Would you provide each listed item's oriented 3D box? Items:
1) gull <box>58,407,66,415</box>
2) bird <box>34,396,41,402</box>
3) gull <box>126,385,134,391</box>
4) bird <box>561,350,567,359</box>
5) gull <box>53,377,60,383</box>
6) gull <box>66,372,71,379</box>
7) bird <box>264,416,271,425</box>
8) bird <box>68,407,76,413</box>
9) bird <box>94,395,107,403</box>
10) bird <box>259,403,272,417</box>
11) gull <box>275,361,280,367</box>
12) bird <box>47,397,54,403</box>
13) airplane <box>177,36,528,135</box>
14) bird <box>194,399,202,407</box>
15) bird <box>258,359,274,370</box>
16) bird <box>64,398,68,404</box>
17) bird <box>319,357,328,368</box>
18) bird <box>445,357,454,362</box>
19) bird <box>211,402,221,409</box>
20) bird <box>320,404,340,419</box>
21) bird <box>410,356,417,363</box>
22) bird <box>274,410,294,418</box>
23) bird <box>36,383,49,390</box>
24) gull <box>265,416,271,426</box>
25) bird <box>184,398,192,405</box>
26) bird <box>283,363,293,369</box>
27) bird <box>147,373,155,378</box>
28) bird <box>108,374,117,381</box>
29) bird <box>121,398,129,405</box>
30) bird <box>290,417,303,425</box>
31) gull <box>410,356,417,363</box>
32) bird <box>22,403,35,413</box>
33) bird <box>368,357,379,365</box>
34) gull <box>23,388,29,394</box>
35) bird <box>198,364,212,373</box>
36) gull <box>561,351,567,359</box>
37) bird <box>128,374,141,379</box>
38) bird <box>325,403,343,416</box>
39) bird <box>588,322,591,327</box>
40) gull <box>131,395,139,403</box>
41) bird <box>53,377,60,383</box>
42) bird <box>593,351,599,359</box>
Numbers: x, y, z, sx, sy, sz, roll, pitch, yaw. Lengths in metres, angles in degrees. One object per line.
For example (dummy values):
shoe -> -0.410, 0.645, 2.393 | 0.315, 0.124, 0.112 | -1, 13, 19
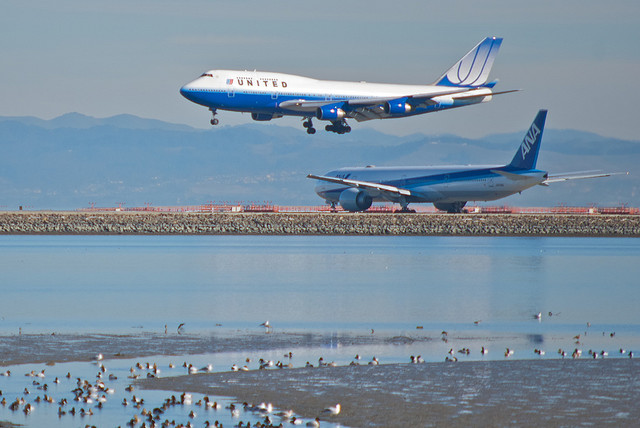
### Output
gull -> -7.425, 5.650, 49.610 | 0.213, 0.130, 0.178 | 4, 13, 21
bird -> -8.169, 5.324, 49.957 | 0.155, 0.107, 0.172 | -4, 12, -15
gull -> -5.571, 5.066, 50.429 | 0.145, 0.126, 0.048 | 4, -12, -1
bird -> 7.318, 4.234, 52.350 | 0.149, 0.130, 0.139 | 2, 2, -15
gull -> -7.759, 4.861, 50.763 | 0.138, 0.119, 0.054 | 4, -6, 2
gull -> -7.447, 4.748, 51.008 | 0.126, 0.138, 0.060 | 4, 3, -6
bird -> -1.528, 5.865, 49.140 | 0.241, 0.212, 0.090 | 2, 4, 9
bird -> -7.101, 5.614, 49.663 | 0.111, 0.114, 0.077 | 11, -9, 45
bird -> -6.282, 5.335, 49.935 | 0.211, 0.079, 0.197 | 6, 24, 13
bird -> -1.524, 5.573, 49.523 | 0.437, 0.218, 0.313 | -8, 14, -32
gull -> -1.309, 4.462, 51.628 | 0.115, 0.115, 0.050 | 14, -5, 37
bird -> -7.783, 5.346, 49.956 | 0.148, 0.122, 0.183 | 3, 12, 15
airplane -> 3.439, -6.767, 90.092 | 9.160, 3.262, 24.638 | 6, 13, 28
bird -> -3.549, 5.438, 49.876 | 0.198, 0.097, 0.260 | -1, 0, -10
bird -> -1.627, 4.473, 51.631 | 0.322, 0.173, 0.300 | -4, 1, 1
bird -> -7.360, 5.387, 49.925 | 0.141, 0.127, 0.066 | -5, 7, -11
bird -> 0.067, 4.452, 51.631 | 0.230, 0.165, 0.241 | 1, 9, -19
bird -> 3.835, 4.357, 51.893 | 0.257, 0.063, 0.158 | 3, 12, 14
bird -> -2.994, 5.503, 49.749 | 0.178, 0.109, 0.170 | 1, 2, -32
bird -> 0.250, 5.610, 49.429 | 0.495, 0.287, 0.397 | 5, 13, 25
bird -> 2.774, 4.340, 51.954 | 0.271, 0.237, 0.124 | 4, -18, -13
bird -> -1.028, 5.693, 49.363 | 0.530, 0.145, 0.252 | -4, 12, -18
bird -> -8.065, 5.026, 50.419 | 0.343, 0.102, 0.242 | -9, 14, -36
gull -> -1.519, 5.850, 49.114 | 0.145, 0.158, 0.221 | 3, 12, 15
bird -> -3.854, 5.392, 49.905 | 0.206, 0.178, 0.080 | 3, 1, -5
bird -> -0.991, 4.503, 51.503 | 0.286, 0.072, 0.251 | 0, 11, 3
bird -> -5.011, 4.745, 50.986 | 0.160, 0.098, 0.201 | 1, -1, 0
bird -> -6.132, 4.783, 50.883 | 0.311, 0.110, 0.243 | 11, 16, 44
bird -> -5.661, 5.406, 49.943 | 0.163, 0.154, 0.153 | 3, -8, -25
bird -> -0.705, 5.862, 49.186 | 0.359, 0.153, 0.221 | 0, 12, 3
gull -> 2.779, 4.358, 51.977 | 0.229, 0.260, 0.138 | 4, -9, -29
bird -> -8.371, 5.556, 49.628 | 0.267, 0.232, 0.106 | 2, -20, -10
bird -> 1.581, 4.406, 51.765 | 0.188, 0.153, 0.396 | 4, 6, 27
gull -> -8.548, 5.120, 50.212 | 0.156, 0.102, 0.179 | -4, 12, -18
bird -> -3.368, 4.541, 51.359 | 0.349, 0.133, 0.349 | 9, 14, 38
gull -> 7.329, 4.234, 52.354 | 0.156, 0.145, 0.137 | 4, 3, -2
bird -> -5.527, 4.767, 50.957 | 0.292, 0.068, 0.190 | -1, 11, -5
bird -> 0.366, 5.551, 49.567 | 0.378, 0.226, 0.516 | 6, 13, 27
bird -> 8.567, 3.523, 55.522 | 0.117, 0.103, 0.047 | 4, 1, 18
gull -> -5.370, 5.326, 49.970 | 0.192, 0.180, 0.456 | -3, 1, -6
bird -> -7.749, 4.862, 50.769 | 0.150, 0.130, 0.059 | 6, -6, 3
bird -> 8.268, 4.261, 52.280 | 0.179, 0.159, 0.066 | -1, -32, 10
